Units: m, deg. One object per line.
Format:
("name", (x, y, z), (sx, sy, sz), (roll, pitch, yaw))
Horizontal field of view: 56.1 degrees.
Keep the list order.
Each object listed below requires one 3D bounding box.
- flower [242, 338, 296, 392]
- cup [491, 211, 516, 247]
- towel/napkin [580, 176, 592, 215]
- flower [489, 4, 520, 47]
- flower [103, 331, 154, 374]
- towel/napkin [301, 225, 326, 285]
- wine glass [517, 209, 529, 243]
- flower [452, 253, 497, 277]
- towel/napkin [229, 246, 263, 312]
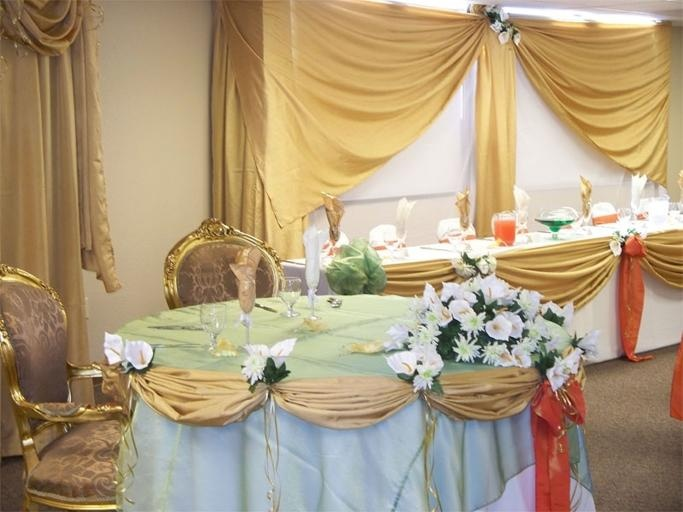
("flower", (-0.237, 0.375, 2.244), (0.230, 0.092, 0.148), (16, -3, 35))
("cup", (1.220, -0.161, 4.748), (0.128, 0.237, 0.226), (2, -18, 13))
("towel/napkin", (2.003, -0.481, 5.233), (0.078, 0.318, 0.209), (8, 14, 26))
("flower", (1.651, -2.316, 6.439), (0.530, 0.349, 0.118), (-10, 17, -44))
("flower", (-0.784, 0.363, 2.402), (0.185, 0.121, 0.085), (7, -12, 15))
("towel/napkin", (-0.128, 0.034, 2.809), (0.086, 0.285, 0.082), (-1, 0, 20))
("wine glass", (1.403, -0.244, 4.923), (0.101, 0.225, 0.410), (5, 13, 15))
("flower", (0.874, 0.062, 4.200), (0.224, 0.126, 0.243), (14, 30, 25))
("towel/napkin", (-0.390, 0.115, 2.604), (0.106, 0.281, 0.099), (-1, 10, -3))
